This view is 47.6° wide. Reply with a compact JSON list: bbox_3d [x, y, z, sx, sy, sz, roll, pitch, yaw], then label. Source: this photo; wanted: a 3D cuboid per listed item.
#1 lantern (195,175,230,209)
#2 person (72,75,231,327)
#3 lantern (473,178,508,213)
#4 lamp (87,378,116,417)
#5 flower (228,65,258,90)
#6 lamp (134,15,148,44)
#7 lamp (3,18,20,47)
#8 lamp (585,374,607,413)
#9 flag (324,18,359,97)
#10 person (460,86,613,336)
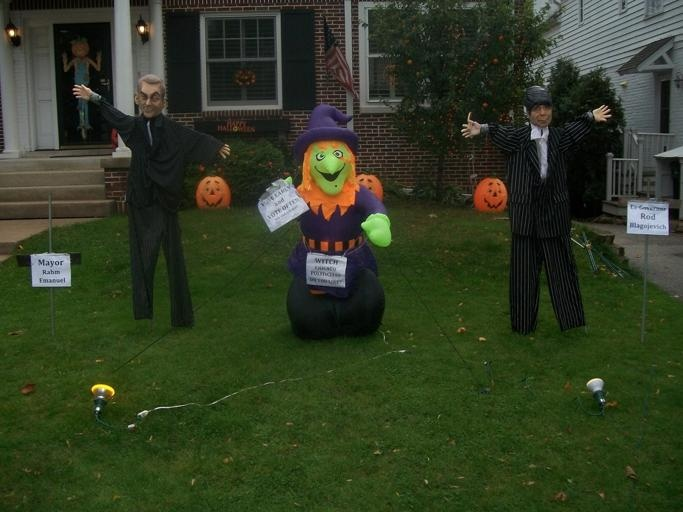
[{"bbox_3d":[-2.085,-1.021,12.679,0.518,0.610,0.523,-2,1,3],"label":"lantern"},{"bbox_3d":[-1.778,-0.513,7.760,1.165,2.522,0.415,-2,10,-9],"label":"person"},{"bbox_3d":[2.545,-1.045,13.683,0.590,0.689,0.569,0,-2,2],"label":"lantern"},{"bbox_3d":[-1.916,1.177,6.233,0.188,0.237,0.190,1,-29,14],"label":"lamp"},{"bbox_3d":[-1.913,-3.519,15.318,0.432,0.437,0.131,-5,5,-5],"label":"flower"},{"bbox_3d":[-3.808,-4.353,14.966,0.241,0.477,0.371,-3,10,-15],"label":"lamp"},{"bbox_3d":[-6.175,-4.224,14.688,0.212,0.484,0.524,-3,10,-14],"label":"lamp"},{"bbox_3d":[2.086,1.115,6.367,0.118,0.196,0.117,-16,-38,8],"label":"lamp"},{"bbox_3d":[-0.032,-3.776,14.674,0.619,1.550,1.250,-1,10,-1],"label":"flag"},{"bbox_3d":[1.895,-0.414,7.552,1.014,2.412,0.322,1,10,11],"label":"person"}]
